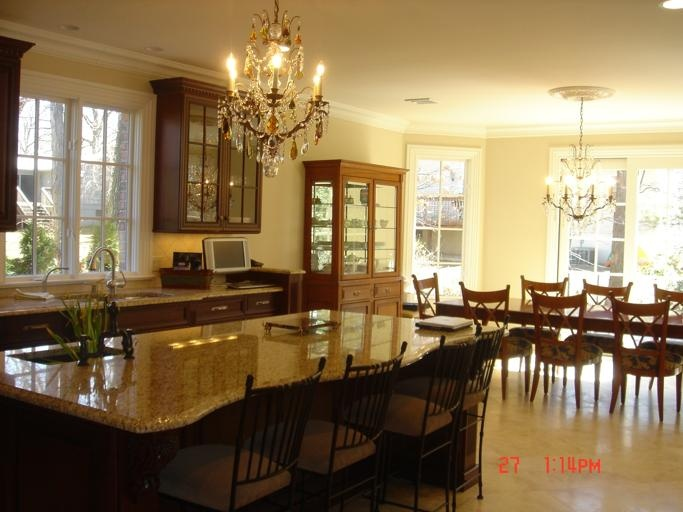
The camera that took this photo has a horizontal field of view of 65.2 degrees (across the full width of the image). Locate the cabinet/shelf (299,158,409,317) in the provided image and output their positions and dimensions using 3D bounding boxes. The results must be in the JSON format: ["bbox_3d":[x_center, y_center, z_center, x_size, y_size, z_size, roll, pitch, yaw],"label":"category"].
[{"bbox_3d":[0.169,-0.174,6.739,1.419,1.963,0.570,-3,5,-34],"label":"cabinet/shelf"}]

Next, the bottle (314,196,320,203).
[{"bbox_3d":[-0.305,-0.668,6.523,0.057,0.102,0.104,3,-3,-43],"label":"bottle"}]

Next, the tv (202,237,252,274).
[{"bbox_3d":[-1.194,-0.014,5.588,0.150,0.350,0.588,3,5,33],"label":"tv"}]

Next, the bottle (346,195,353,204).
[{"bbox_3d":[0.091,-0.682,6.514,0.083,0.084,0.083,0,-1,-1],"label":"bottle"}]

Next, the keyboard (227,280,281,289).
[{"bbox_3d":[-0.951,0.311,5.527,0.247,0.059,0.577,4,6,41],"label":"keyboard"}]

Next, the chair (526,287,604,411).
[{"bbox_3d":[2.278,0.875,5.443,0.653,1.121,0.985,2,5,26],"label":"chair"}]

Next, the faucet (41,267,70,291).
[{"bbox_3d":[-2.390,0.190,4.453,0.212,0.235,0.733,-2,5,-28],"label":"faucet"}]
